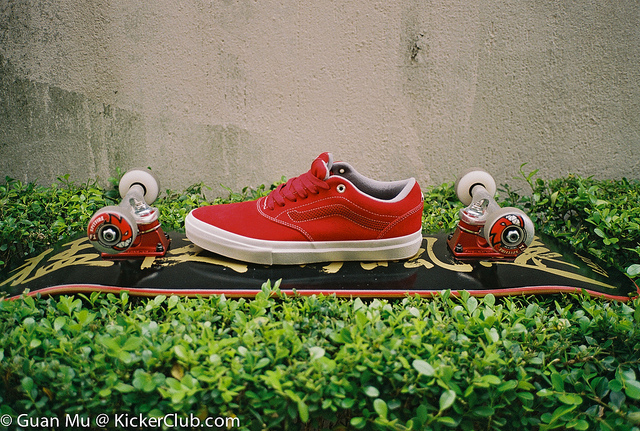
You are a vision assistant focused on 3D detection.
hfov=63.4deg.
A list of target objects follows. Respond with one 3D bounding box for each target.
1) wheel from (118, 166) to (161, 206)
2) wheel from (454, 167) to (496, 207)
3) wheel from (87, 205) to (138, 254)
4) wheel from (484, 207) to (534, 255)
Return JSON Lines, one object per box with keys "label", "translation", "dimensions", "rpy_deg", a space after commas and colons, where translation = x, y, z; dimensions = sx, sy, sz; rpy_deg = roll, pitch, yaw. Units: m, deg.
{"label": "wheel", "translation": [-1.118, -0.208, 3.240], "dimensions": [0.159, 0.180, 0.297], "rpy_deg": [36, 12, -2]}
{"label": "wheel", "translation": [0.973, -0.169, 3.272], "dimensions": [0.284, 0.325, 0.138], "rpy_deg": [1, 5, 4]}
{"label": "wheel", "translation": [-1.212, 0.097, 3.008], "dimensions": [0.254, 0.280, 0.114], "rpy_deg": [8, 25, -14]}
{"label": "wheel", "translation": [1.080, 0.093, 3.004], "dimensions": [0.238, 0.271, 0.083], "rpy_deg": [-1, 14, 0]}
